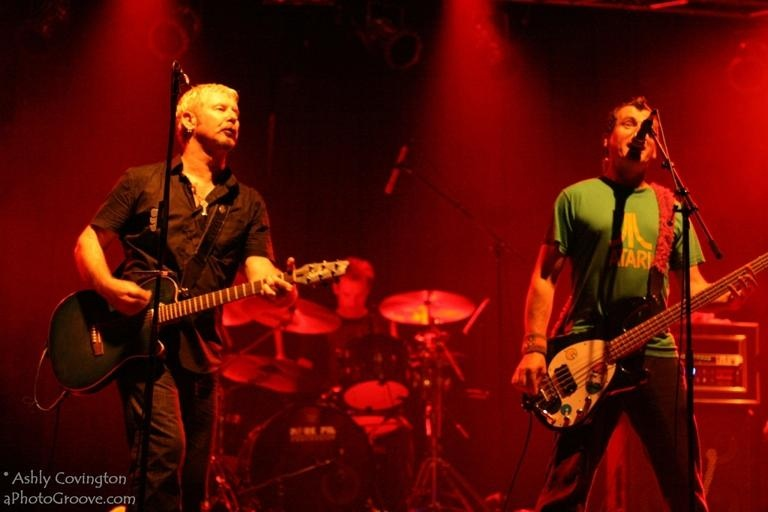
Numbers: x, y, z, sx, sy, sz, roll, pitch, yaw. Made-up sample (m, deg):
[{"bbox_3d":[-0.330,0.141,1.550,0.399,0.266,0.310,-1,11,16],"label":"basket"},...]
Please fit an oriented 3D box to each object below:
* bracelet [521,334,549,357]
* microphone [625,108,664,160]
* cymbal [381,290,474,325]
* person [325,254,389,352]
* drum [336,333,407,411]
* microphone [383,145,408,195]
[{"bbox_3d":[1.211,0.731,5.819,0.167,0.126,0.169,-1,-4,-2],"label":"bracelet"},{"bbox_3d":[2.004,-0.920,5.686,0.153,0.211,0.530,28,-20,16],"label":"microphone"},{"bbox_3d":[0.441,0.540,7.359,0.950,0.355,0.152,7,16,1],"label":"cymbal"},{"bbox_3d":[-0.283,0.511,7.368,0.855,1.300,0.481,-2,-13,-2],"label":"person"},{"bbox_3d":[-0.075,1.217,7.296,0.696,0.672,0.656,-3,-21,3],"label":"drum"},{"bbox_3d":[0.157,-0.918,7.642,0.148,0.653,0.168,20,-2,3],"label":"microphone"}]
